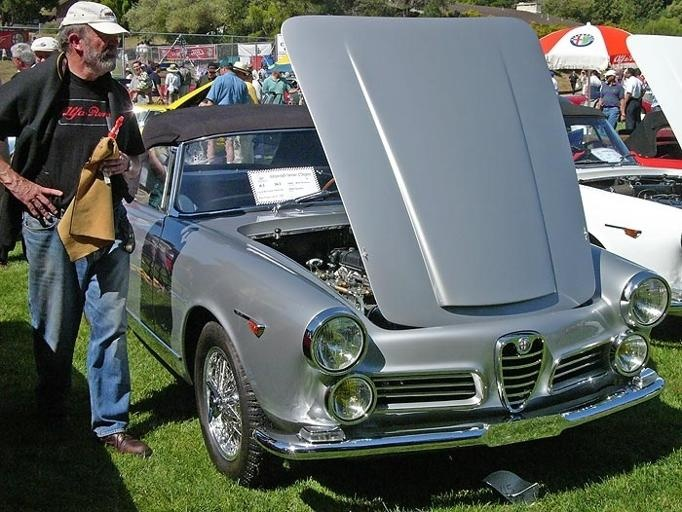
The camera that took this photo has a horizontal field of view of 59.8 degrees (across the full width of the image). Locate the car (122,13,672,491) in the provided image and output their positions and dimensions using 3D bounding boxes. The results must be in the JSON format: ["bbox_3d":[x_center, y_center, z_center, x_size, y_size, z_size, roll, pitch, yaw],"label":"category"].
[{"bbox_3d":[-0.185,-0.290,4.650,2.144,2.144,4.055,-2,9,-22],"label":"car"}]

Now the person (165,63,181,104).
[{"bbox_3d":[-4.484,-4.420,15.634,0.413,1.259,0.355,-10,31,-35],"label":"person"}]

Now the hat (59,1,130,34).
[{"bbox_3d":[-1.373,-1.269,3.301,0.302,0.137,0.218,4,14,-11],"label":"hat"}]

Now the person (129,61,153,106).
[{"bbox_3d":[-5.023,-4.259,14.770,0.387,1.198,0.399,-13,-11,12],"label":"person"}]

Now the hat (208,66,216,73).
[{"bbox_3d":[-2.980,-4.312,13.573,0.133,0.170,0.172,-1,-3,-15],"label":"hat"}]

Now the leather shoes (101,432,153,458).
[{"bbox_3d":[-1.332,1.152,3.695,0.333,0.141,0.138,8,12,22],"label":"leather shoes"}]

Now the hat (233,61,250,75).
[{"bbox_3d":[-1.808,-3.444,10.749,0.248,0.092,0.263,24,1,11],"label":"hat"}]
